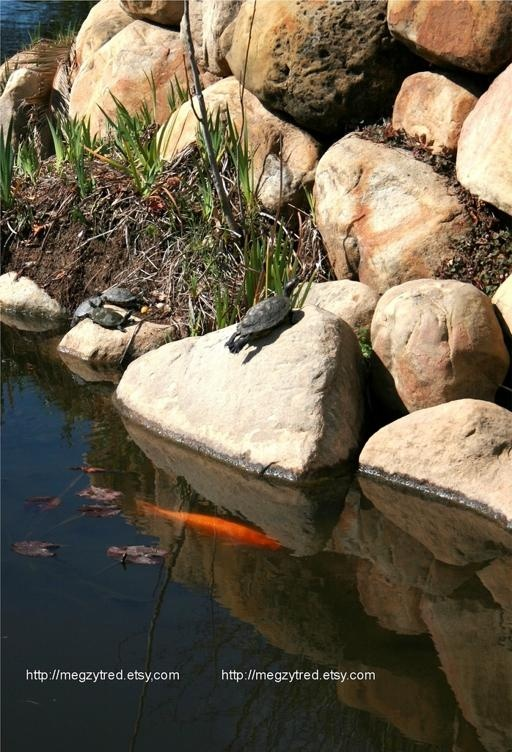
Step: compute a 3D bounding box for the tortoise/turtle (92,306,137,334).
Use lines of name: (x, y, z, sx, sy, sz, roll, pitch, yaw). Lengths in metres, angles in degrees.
tortoise/turtle: (-1.182, -0.497, 8.218, 0.383, 0.154, 0.303, 12, 37, 21)

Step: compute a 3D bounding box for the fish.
fish: (-0.304, 0.850, 5.618, 1.115, 0.174, 0.181, 7, 6, 39)

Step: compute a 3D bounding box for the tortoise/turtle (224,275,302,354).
tortoise/turtle: (0.089, -0.363, 6.466, 0.300, 0.316, 0.687, 25, 43, 35)

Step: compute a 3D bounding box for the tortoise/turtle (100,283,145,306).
tortoise/turtle: (-1.162, -0.707, 8.388, 0.279, 0.085, 0.197, 20, 18, 25)
